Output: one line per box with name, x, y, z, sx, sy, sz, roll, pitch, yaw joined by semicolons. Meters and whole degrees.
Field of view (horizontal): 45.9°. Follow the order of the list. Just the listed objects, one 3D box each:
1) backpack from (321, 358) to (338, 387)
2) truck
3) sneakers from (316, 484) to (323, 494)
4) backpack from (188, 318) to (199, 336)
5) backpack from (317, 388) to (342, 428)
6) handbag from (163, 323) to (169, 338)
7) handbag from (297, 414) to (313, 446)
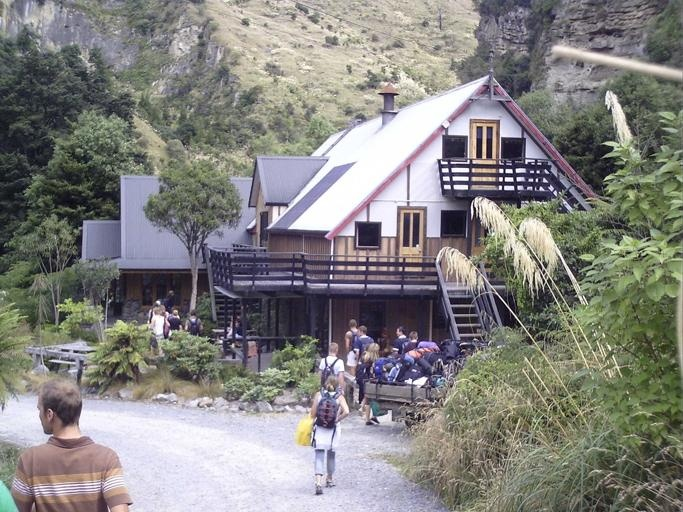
backpack;-0.356;2.893;19.683;0.398;0.765;0.636;0;-6;8
truck;1.831;3.009;18.903;2.449;2.152;5.681;1;-9;-5
sneakers;-0.434;4.493;15.452;0.146;0.184;0.273;1;-8;-3
backpack;-5.246;2.511;28.480;0.424;0.595;0.522;2;-8;-13
backpack;-0.103;2.976;15.774;0.382;0.761;0.656;1;4;36
handbag;-6.021;2.583;27.701;0.176;0.486;0.411;2;-8;-10
handbag;-0.730;3.408;15.675;0.341;0.580;0.328;1;-7;-7
